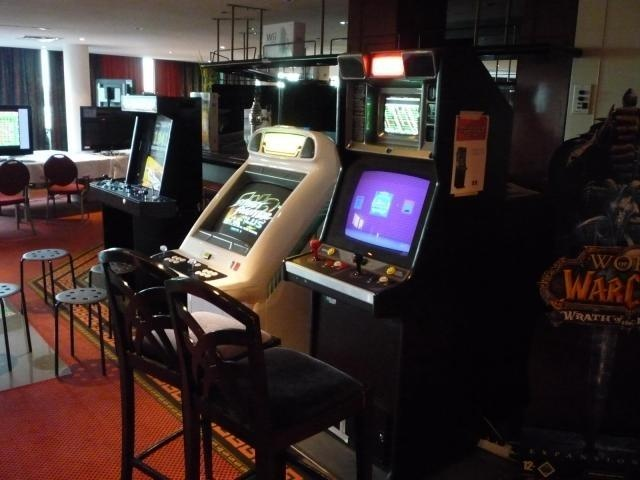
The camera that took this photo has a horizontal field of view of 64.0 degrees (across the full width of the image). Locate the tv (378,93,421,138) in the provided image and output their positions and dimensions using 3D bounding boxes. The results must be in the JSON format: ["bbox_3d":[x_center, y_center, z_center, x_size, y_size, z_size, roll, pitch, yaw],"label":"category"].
[{"bbox_3d":[0.402,-0.623,2.544,0.125,0.235,0.246,-4,7,-42],"label":"tv"}]

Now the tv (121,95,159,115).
[{"bbox_3d":[-1.524,-1.147,4.302,0.195,0.148,0.817,-7,16,-25],"label":"tv"}]

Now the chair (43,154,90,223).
[{"bbox_3d":[-3.742,-0.833,7.573,0.560,0.888,1.085,-7,16,-26],"label":"chair"}]

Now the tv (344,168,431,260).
[{"bbox_3d":[0.352,-0.121,2.560,0.382,0.334,0.197,23,4,41],"label":"tv"}]
